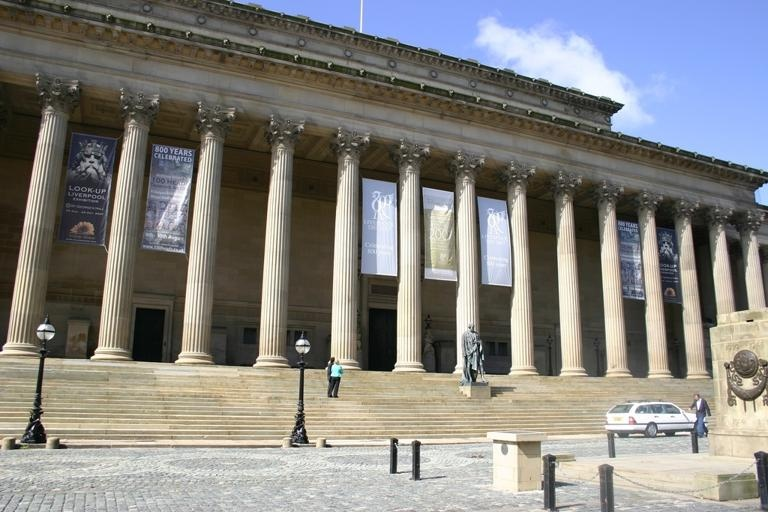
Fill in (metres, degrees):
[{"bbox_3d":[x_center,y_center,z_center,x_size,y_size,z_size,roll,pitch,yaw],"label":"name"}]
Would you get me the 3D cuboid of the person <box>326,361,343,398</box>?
[{"bbox_3d":[-2.352,5.759,30.136,0.572,1.856,1.075,4,-12,-6],"label":"person"}]
